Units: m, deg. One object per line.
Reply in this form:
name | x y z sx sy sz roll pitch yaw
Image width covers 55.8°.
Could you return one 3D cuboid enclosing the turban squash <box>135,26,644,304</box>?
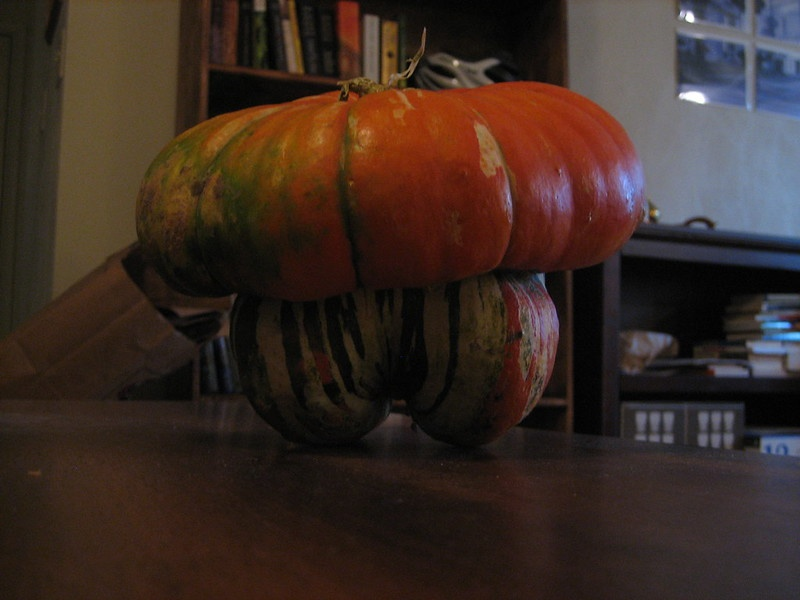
turban squash | -0.012 -0.066 0.490 0.198 0.102 0.228 -7 1 5
